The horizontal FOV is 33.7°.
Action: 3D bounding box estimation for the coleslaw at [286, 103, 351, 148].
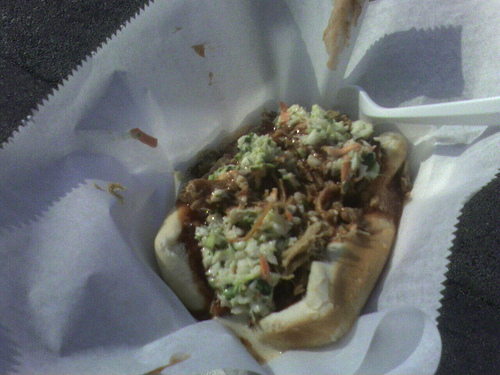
[{"bbox_3d":[0.370,-0.333,4.465,0.269,0.269,0.120,22,122,46],"label":"coleslaw"}]
